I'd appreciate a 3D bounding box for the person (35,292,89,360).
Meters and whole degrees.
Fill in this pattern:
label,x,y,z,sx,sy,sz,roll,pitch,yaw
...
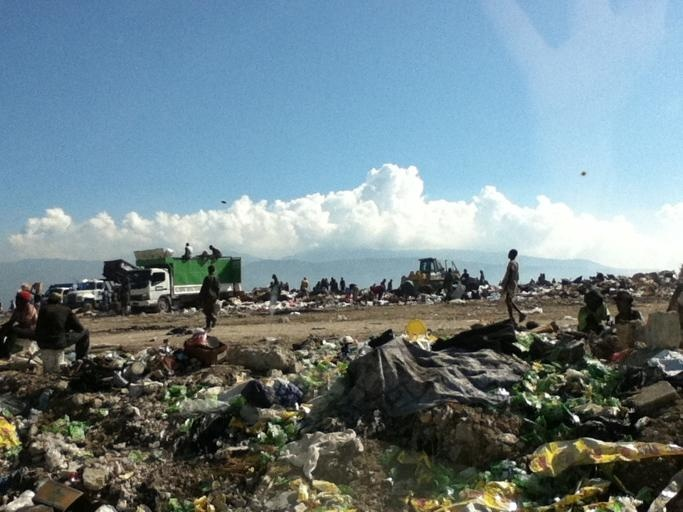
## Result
label,x,y,z,sx,sy,sz,roll,pitch,yaw
person,-4.901,1.291,7.638,0.842,1.280,0.825,-1,5,-3

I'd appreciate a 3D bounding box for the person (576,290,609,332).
label,x,y,z,sx,sy,sz,roll,pitch,yaw
person,4.294,0.942,7.571,0.482,0.781,0.438,0,0,11

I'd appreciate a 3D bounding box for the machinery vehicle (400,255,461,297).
label,x,y,z,sx,sy,sz,roll,pitch,yaw
machinery vehicle,4.604,1.232,24.535,3.367,1.798,1.848,-6,5,-41
